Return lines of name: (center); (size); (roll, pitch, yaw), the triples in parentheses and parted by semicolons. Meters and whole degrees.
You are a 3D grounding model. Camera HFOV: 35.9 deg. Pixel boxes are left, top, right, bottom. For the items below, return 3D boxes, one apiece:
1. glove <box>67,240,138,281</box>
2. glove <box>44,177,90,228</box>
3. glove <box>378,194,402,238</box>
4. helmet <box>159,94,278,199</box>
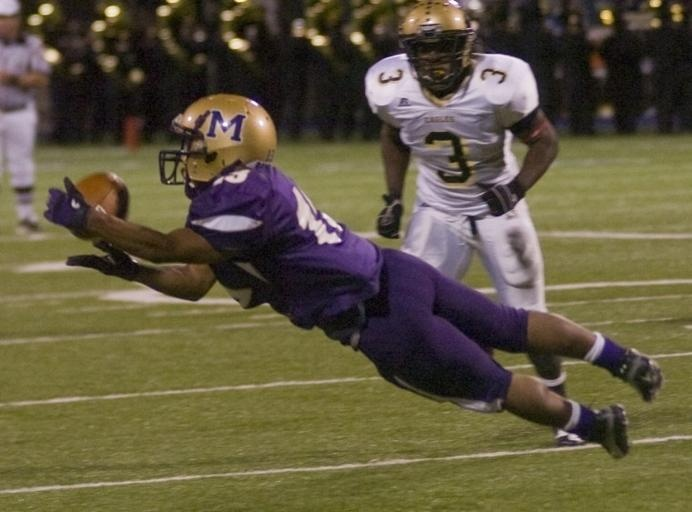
glove: (-0.853, 0.028, 3.867); (0.255, 0.059, 0.150); (13, 3, -29)
glove: (-0.984, -0.179, 3.783); (0.157, 0.190, 0.160); (-9, 15, -13)
glove: (0.214, -0.176, 4.624); (0.101, 0.188, 0.103); (7, -12, -21)
helmet: (-0.395, -0.421, 3.974); (0.546, 0.316, 0.356); (1, 4, 25)
